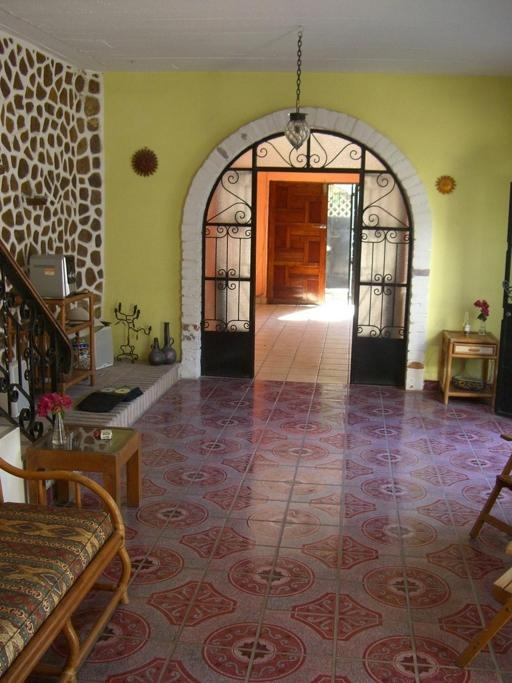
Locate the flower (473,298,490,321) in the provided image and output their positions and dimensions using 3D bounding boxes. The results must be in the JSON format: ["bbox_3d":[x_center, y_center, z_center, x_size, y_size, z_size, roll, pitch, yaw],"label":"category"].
[{"bbox_3d":[2.462,-0.341,5.666,0.248,0.261,0.243,0,0,18],"label":"flower"}]

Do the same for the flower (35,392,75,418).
[{"bbox_3d":[-1.099,0.352,2.914,0.183,0.174,0.181,-3,4,-39],"label":"flower"}]

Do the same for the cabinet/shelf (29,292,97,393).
[{"bbox_3d":[-1.577,0.025,4.281,0.351,0.789,0.869,0,11,-2],"label":"cabinet/shelf"}]

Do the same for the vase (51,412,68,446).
[{"bbox_3d":[-1.079,0.468,2.870,0.079,0.186,0.155,-2,8,-18],"label":"vase"}]
